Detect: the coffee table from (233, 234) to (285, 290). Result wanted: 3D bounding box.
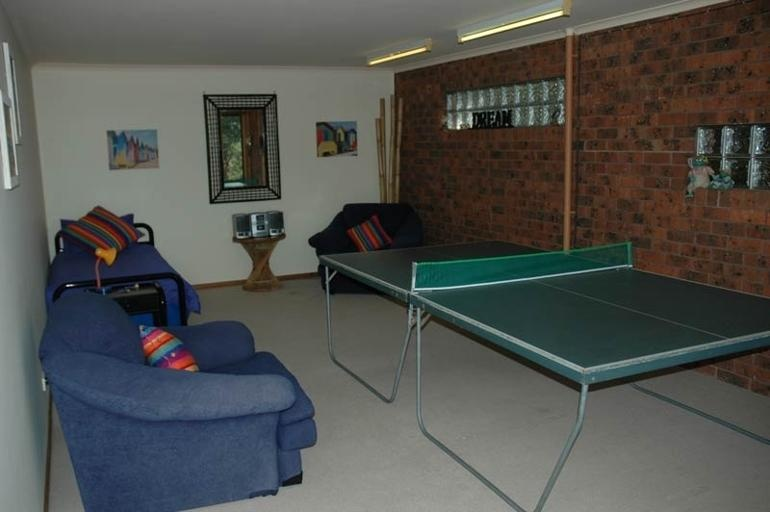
[{"bbox_3d":[-1.805,0.071,8.097,0.665,0.734,0.650,1,9,19],"label":"coffee table"}]

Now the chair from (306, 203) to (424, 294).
[{"bbox_3d":[-0.200,0.114,8.038,1.662,1.306,1.253,-2,8,1],"label":"chair"}]

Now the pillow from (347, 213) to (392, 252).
[{"bbox_3d":[-0.225,-0.277,8.007,0.515,0.515,0.157,-31,-16,-11],"label":"pillow"}]

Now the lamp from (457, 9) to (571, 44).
[{"bbox_3d":[1.250,-2.207,5.423,0.263,0.084,1.343,-13,15,-35],"label":"lamp"}]

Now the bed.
[{"bbox_3d":[-2.963,0.324,6.198,1.289,0.933,2.292,-8,20,-31],"label":"bed"}]

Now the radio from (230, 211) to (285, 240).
[{"bbox_3d":[-1.797,-0.434,7.951,0.708,0.339,0.328,-7,13,-16],"label":"radio"}]
